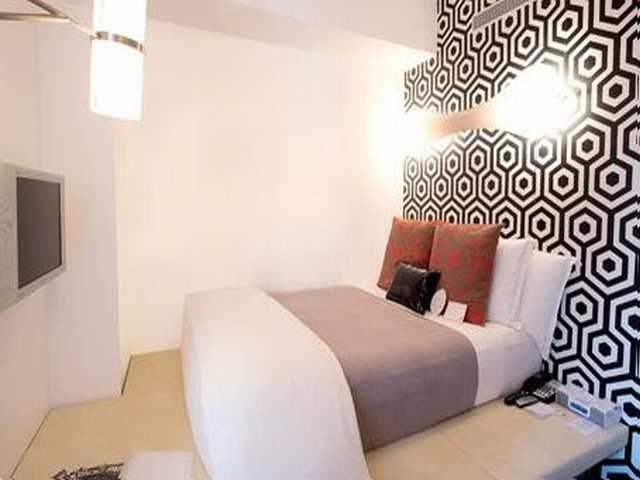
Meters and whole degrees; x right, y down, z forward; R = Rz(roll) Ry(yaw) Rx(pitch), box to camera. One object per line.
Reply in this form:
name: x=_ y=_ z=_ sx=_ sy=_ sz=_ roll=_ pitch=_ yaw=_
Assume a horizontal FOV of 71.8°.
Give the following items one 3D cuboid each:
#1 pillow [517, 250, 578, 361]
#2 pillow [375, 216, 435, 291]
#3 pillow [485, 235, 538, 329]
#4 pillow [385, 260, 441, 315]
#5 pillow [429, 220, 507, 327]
pillow: x=1.509 y=0.418 z=3.005 sx=0.143 sy=0.607 sz=0.606 roll=8 pitch=5 yaw=-26
pillow: x=0.825 y=0.133 z=3.845 sx=0.202 sy=0.567 sz=0.555 roll=18 pitch=-6 yaw=-26
pillow: x=1.320 y=0.289 z=3.088 sx=0.151 sy=0.512 sz=0.505 roll=10 pitch=-8 yaw=-9
pillow: x=0.707 y=0.365 z=3.345 sx=0.148 sy=0.347 sz=0.332 roll=23 pitch=3 yaw=-34
pillow: x=1.076 y=0.271 z=3.165 sx=0.313 sy=0.834 sz=0.681 roll=10 pitch=-4 yaw=-32
